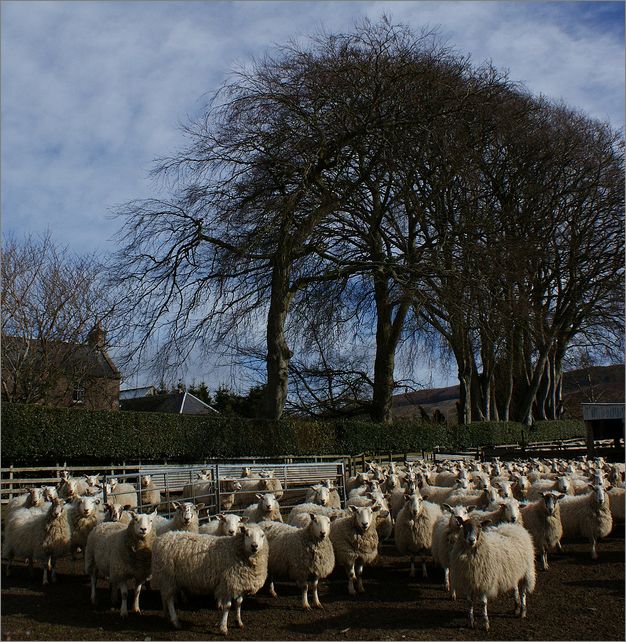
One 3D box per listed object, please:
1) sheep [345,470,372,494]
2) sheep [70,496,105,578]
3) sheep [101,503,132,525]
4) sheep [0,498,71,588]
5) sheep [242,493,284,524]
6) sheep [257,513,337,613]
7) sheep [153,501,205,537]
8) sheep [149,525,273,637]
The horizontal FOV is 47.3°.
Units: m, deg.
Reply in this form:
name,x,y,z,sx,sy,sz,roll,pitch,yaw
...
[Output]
name,x,y,z,sx,sy,sz,roll,pitch,yaw
sheep,1.026,3.454,15.609,0.342,0.518,0.950,14,-29,-23
sheep,-3.799,3.473,11.668,0.526,1.094,1.402,5,-22,-20
sheep,-3.004,2.982,10.861,0.318,0.367,0.597,1,-26,-9
sheep,-4.330,3.323,11.062,1.191,1.294,0.538,1,0,32
sheep,-0.743,3.062,11.622,0.432,0.566,0.984,0,-21,-14
sheep,-0.235,3.308,10.052,0.763,1.372,1.580,9,-14,-42
sheep,-1.936,2.839,10.328,0.343,0.546,0.947,9,-21,-21
sheep,-1.307,3.133,8.862,1.441,1.305,0.674,1,0,-4
